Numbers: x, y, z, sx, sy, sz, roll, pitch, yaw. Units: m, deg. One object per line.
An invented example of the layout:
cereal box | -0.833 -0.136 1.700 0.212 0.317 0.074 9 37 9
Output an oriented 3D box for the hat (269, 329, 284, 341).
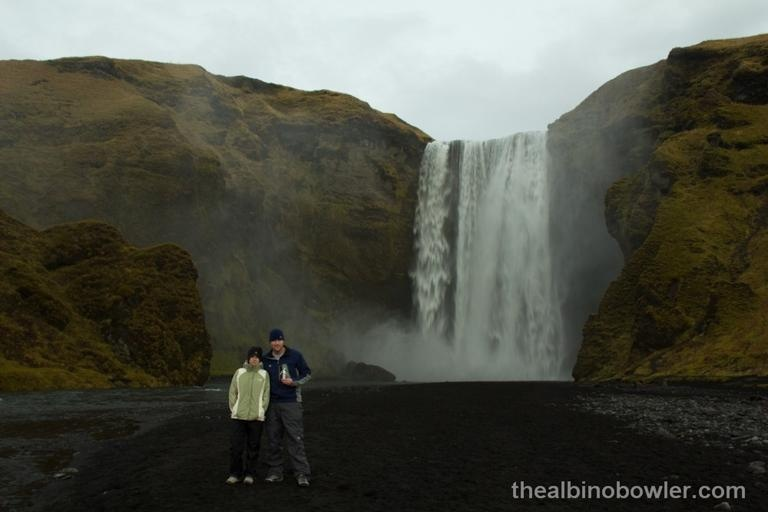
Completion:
hat | -4.194 3.013 26.886 0.630 0.522 0.626 0 -10 -16

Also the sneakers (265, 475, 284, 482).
sneakers | -4.250 8.496 26.512 0.289 0.187 0.511 -8 -28 17
